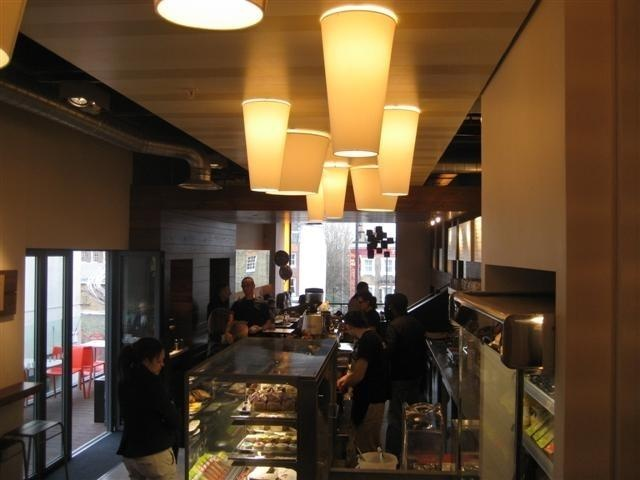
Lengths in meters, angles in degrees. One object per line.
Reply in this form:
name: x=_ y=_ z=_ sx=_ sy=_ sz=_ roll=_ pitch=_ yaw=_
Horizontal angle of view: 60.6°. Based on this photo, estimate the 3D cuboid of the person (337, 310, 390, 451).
person: x=0.375 y=1.192 z=4.600 sx=0.413 sy=1.171 sz=0.978 roll=-1 pitch=-3 yaw=7

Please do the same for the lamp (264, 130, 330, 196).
lamp: x=-0.075 y=-0.316 z=2.475 sx=0.236 sy=0.208 sz=0.266 roll=4 pitch=-7 yaw=-3

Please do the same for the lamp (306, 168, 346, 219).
lamp: x=0.057 y=-0.295 z=3.474 sx=0.236 sy=0.316 sz=0.290 roll=2 pitch=-1 yaw=-1

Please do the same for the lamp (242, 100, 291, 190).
lamp: x=-0.214 y=-0.394 z=2.208 sx=0.184 sy=0.397 sz=0.190 roll=1 pitch=-3 yaw=-39

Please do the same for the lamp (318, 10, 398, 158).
lamp: x=0.120 y=-0.487 z=1.680 sx=0.218 sy=0.428 sz=0.099 roll=-1 pitch=-2 yaw=7

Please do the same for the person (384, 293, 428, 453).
person: x=0.929 y=1.349 z=5.906 sx=0.455 sy=1.501 sz=1.624 roll=-1 pitch=-3 yaw=9
